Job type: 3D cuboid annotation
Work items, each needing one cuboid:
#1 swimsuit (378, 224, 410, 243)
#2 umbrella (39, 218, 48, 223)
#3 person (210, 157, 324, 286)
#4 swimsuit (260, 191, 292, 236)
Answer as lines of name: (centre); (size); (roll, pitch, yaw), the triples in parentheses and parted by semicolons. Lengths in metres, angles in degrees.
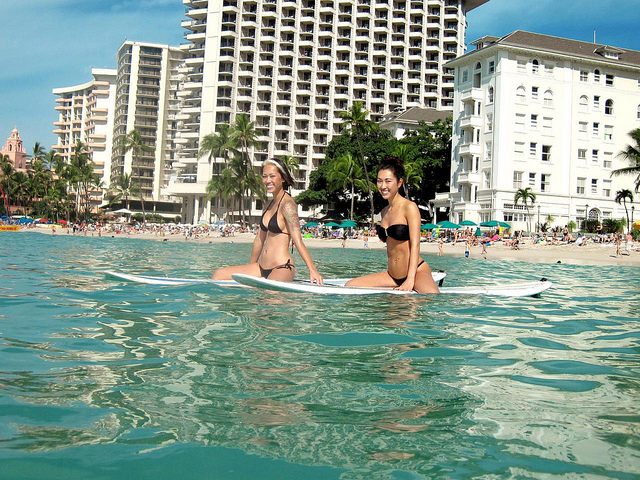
swimsuit: (0.874, -0.074, 8.569); (0.225, 0.240, 0.503); (-2, 8, -27)
umbrella: (-29.439, -2.044, 74.874); (0.996, 0.442, 0.941); (-1, -3, 6)
person: (-0.561, -0.217, 8.628); (1.291, 1.557, 0.642); (8, 10, 36)
swimsuit: (-0.591, -0.274, 8.604); (0.270, 0.405, 0.349); (7, -6, -34)
